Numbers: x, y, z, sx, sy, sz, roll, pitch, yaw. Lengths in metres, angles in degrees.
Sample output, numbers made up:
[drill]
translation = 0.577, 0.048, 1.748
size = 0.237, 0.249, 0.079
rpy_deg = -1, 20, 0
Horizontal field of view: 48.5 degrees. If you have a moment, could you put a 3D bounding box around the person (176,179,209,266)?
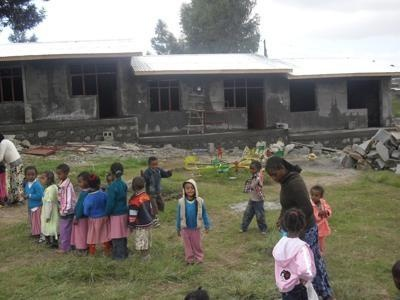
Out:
[person]
translation = -0.134, 1.376, 8.592
size = 0.617, 1.636, 0.357
rpy_deg = -1, 12, -2

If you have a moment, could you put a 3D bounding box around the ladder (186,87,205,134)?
[ladder]
translation = -0.185, -1.885, 20.863
size = 0.943, 2.118, 0.578
rpy_deg = -3, 12, -12
